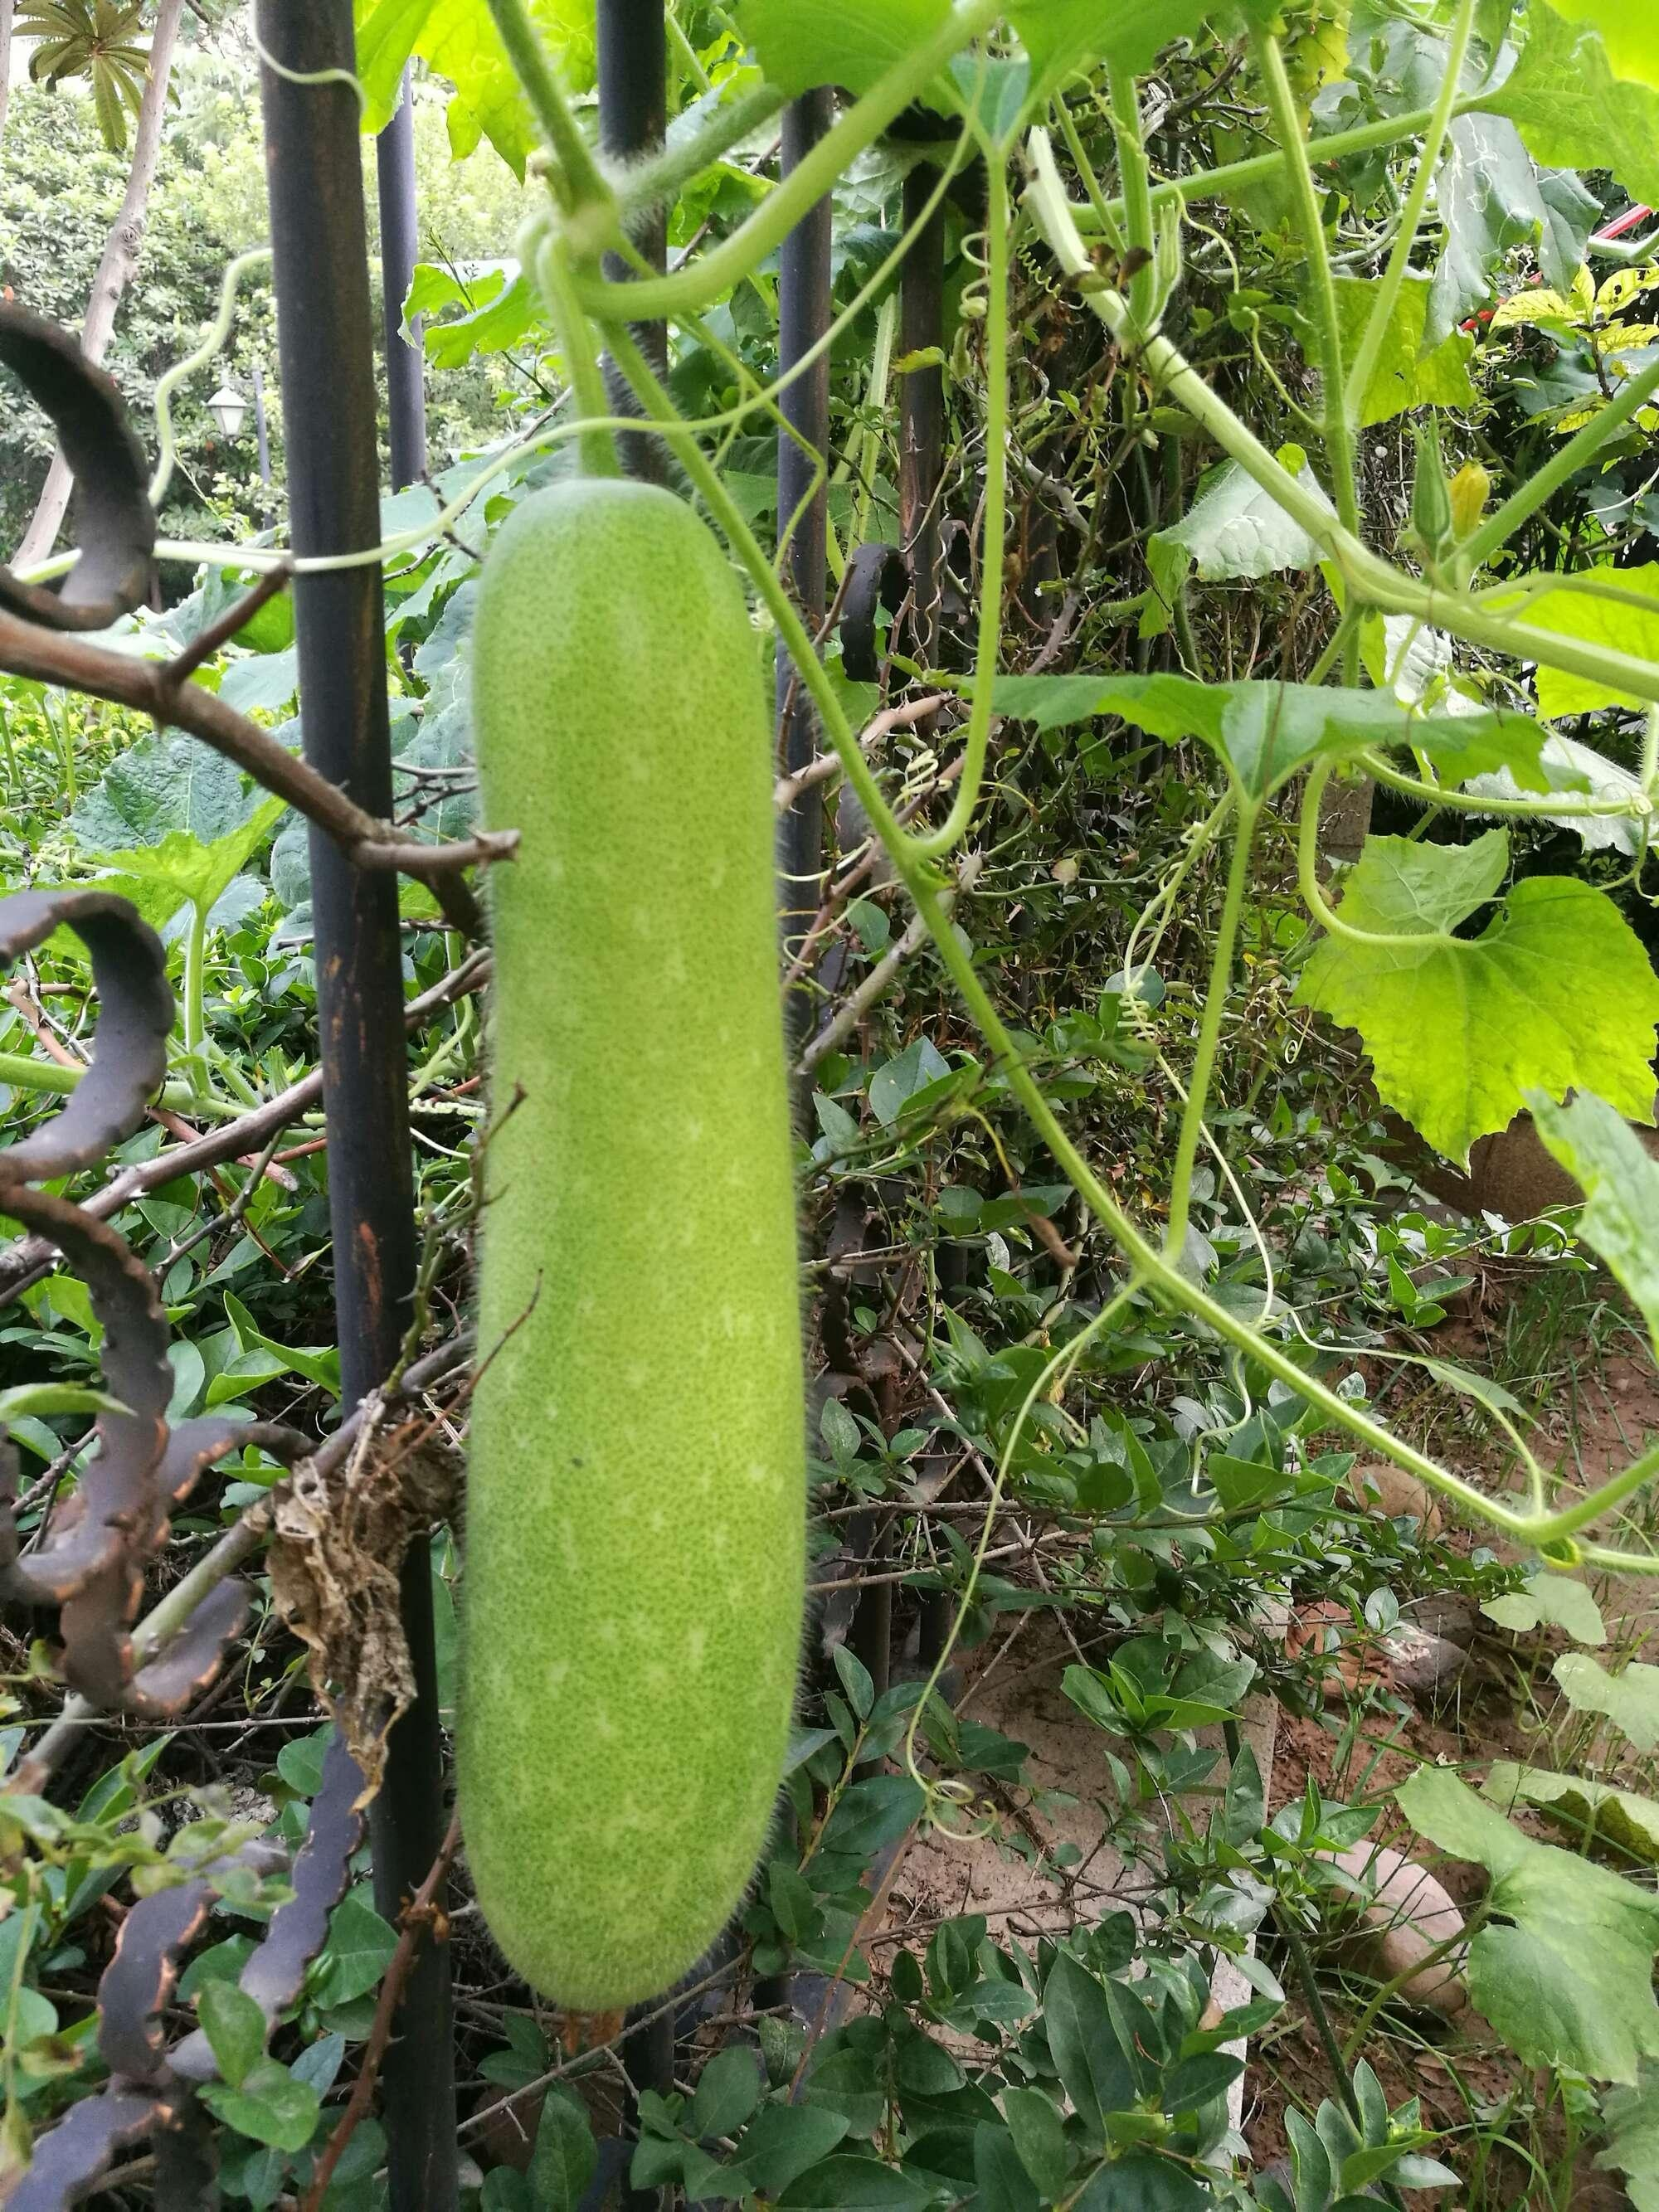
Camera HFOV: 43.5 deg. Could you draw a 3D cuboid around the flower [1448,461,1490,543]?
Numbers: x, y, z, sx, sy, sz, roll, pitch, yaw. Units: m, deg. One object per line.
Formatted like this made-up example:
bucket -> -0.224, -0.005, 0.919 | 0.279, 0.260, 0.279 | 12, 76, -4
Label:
flower -> 0.485, -0.459, 1.587 | 0.024, 0.070, 0.089 | 10, 36, 13
